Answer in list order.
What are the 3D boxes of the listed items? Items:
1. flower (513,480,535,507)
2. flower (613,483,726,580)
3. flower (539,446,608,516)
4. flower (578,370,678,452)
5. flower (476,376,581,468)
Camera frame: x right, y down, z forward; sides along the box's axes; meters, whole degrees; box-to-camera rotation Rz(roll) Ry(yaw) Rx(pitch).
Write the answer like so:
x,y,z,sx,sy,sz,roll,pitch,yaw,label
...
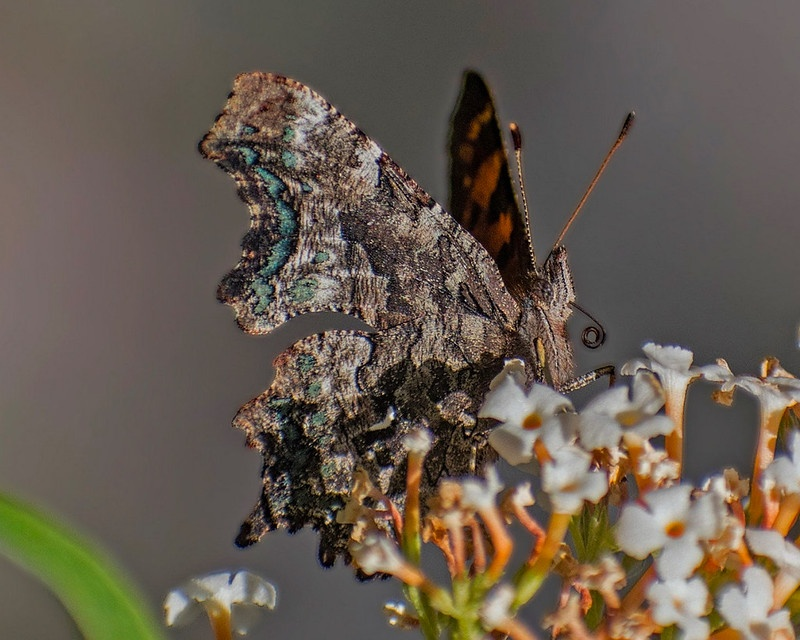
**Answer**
x,y,z,sx,sy,sz,roll,pitch,yaw,label
0.192,0.266,2.540,0.033,0.034,0.017,-6,19,-5,flower
0.396,0.302,2.447,0.131,0.033,0.143,32,70,19,flower
0.255,0.242,2.472,0.081,0.030,0.092,-37,66,-13,flower
0.333,0.140,2.519,0.140,0.049,0.116,-11,63,0,flower
0.191,0.150,2.535,0.137,0.050,0.126,9,64,10,flower
